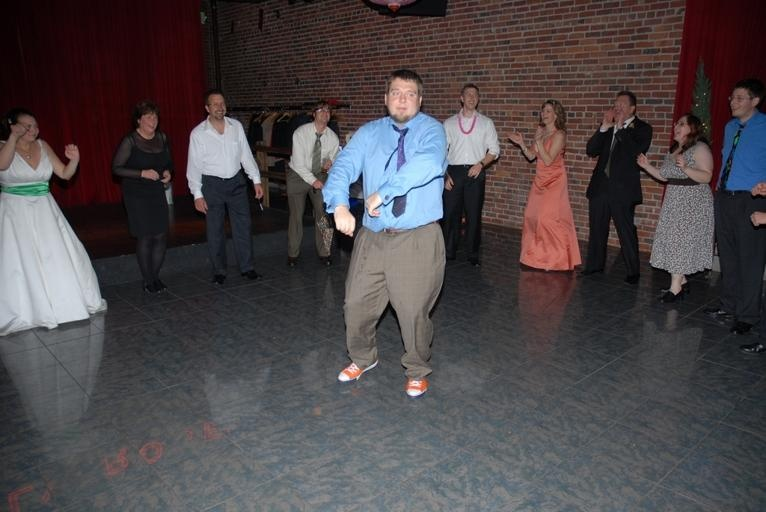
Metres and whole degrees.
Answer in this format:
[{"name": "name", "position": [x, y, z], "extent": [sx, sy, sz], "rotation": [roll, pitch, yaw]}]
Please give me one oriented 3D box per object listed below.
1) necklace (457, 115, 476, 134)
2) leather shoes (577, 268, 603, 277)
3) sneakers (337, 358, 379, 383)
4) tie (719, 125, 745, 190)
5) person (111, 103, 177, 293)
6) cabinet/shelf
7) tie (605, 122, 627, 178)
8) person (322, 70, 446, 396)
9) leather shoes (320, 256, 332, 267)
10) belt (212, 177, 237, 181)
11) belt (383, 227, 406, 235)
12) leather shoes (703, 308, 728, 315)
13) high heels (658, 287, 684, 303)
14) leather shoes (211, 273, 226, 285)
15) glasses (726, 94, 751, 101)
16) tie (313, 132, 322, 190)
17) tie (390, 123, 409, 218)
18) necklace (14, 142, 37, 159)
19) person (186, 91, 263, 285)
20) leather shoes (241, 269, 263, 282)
[{"name": "necklace", "position": [1.095, -1.719, 6.064], "extent": [0.272, 0.245, 0.136], "rotation": [1, 18, 11]}, {"name": "leather shoes", "position": [2.583, 0.192, 5.836], "extent": [0.339, 0.143, 0.115], "rotation": [0, 17, -5]}, {"name": "sneakers", "position": [-0.195, 0.938, 3.872], "extent": [0.377, 0.149, 0.127], "rotation": [-11, 23, -35]}, {"name": "tie", "position": [3.276, -0.926, 4.364], "extent": [0.087, 0.617, 0.071], "rotation": [14, -16, 0]}, {"name": "person", "position": [-2.624, -0.537, 5.230], "extent": [0.601, 1.912, 0.334], "rotation": [-12, 20, -27]}, {"name": "cabinet/shelf", "position": [-2.260, -2.538, 10.631], "extent": [1.365, 2.144, 3.150], "rotation": [4, -4, -34]}, {"name": "tie", "position": [2.708, -1.257, 5.483], "extent": [0.082, 0.702, 0.125], "rotation": [3, 18, -42]}, {"name": "person", "position": [0.042, -0.109, 3.423], "extent": [0.888, 2.368, 0.671], "rotation": [-5, 18, -7]}, {"name": "leather shoes", "position": [-0.771, 0.068, 6.259], "extent": [0.077, 0.092, 0.231], "rotation": [-4, 13, -24]}, {"name": "belt", "position": [-1.846, -0.904, 5.404], "extent": [0.218, 0.049, 0.055], "rotation": [-8, 18, -17]}, {"name": "belt", "position": [0.081, -0.182, 3.325], "extent": [0.148, 0.040, 0.018], "rotation": [0, 18, 9]}, {"name": "leather shoes", "position": [3.390, 0.573, 4.711], "extent": [0.180, 0.071, 0.076], "rotation": [12, 20, 19]}, {"name": "high heels", "position": [3.157, 0.431, 5.043], "extent": [0.272, 0.112, 0.143], "rotation": [-3, 6, -13]}, {"name": "leather shoes", "position": [-2.000, 0.280, 5.619], "extent": [0.114, 0.134, 0.317], "rotation": [1, -4, -13]}, {"name": "glasses", "position": [3.288, -1.464, 4.316], "extent": [0.115, 0.048, 0.262], "rotation": [2, 18, 13]}, {"name": "tie", "position": [-0.841, -1.264, 5.946], "extent": [0.067, 0.566, 0.170], "rotation": [8, 21, 32]}, {"name": "tie", "position": [0.121, -0.592, 3.253], "extent": [0.121, 0.596, 0.285], "rotation": [-2, 17, 4]}, {"name": "necklace", "position": [-3.434, -1.010, 4.470], "extent": [0.180, 0.136, 0.080], "rotation": [-16, 22, -35]}, {"name": "person", "position": [-1.877, -0.799, 5.535], "extent": [0.810, 2.217, 0.471], "rotation": [-10, 19, -21]}, {"name": "leather shoes", "position": [-1.654, 0.248, 5.770], "extent": [0.225, 0.095, 0.117], "rotation": [5, 13, 34]}]
